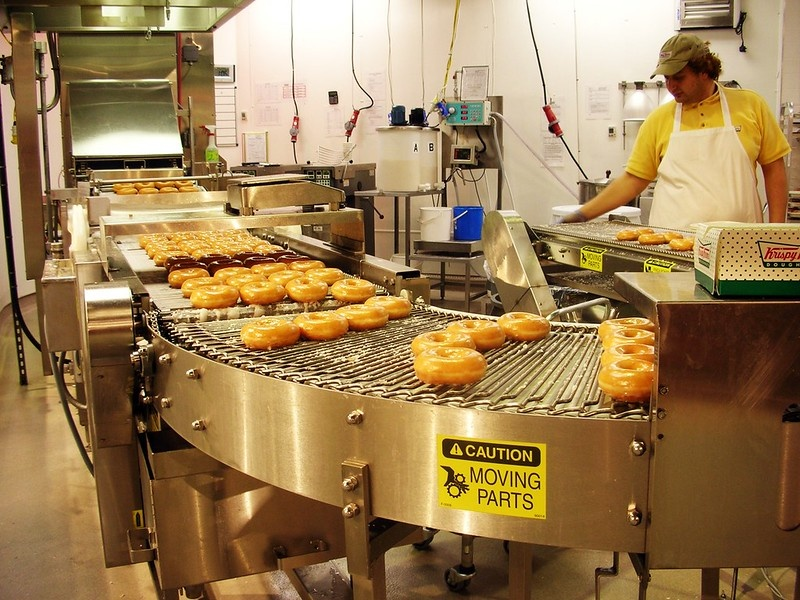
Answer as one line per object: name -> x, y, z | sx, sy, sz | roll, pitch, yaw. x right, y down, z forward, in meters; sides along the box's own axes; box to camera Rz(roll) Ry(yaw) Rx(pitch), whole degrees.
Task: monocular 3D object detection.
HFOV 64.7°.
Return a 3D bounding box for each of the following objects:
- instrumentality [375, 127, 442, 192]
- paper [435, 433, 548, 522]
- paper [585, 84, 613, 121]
instrumentality -> 0.094, -1.188, 5.294 | 0.584, 0.502, 0.562 | 3, 7, 20
paper -> 0.165, 0.301, 1.092 | 0.168, 0.114, 0.006 | 1, 6, 18
paper -> 1.832, -1.832, 5.821 | 0.330, 0.393, 0.048 | 2, 6, 24
